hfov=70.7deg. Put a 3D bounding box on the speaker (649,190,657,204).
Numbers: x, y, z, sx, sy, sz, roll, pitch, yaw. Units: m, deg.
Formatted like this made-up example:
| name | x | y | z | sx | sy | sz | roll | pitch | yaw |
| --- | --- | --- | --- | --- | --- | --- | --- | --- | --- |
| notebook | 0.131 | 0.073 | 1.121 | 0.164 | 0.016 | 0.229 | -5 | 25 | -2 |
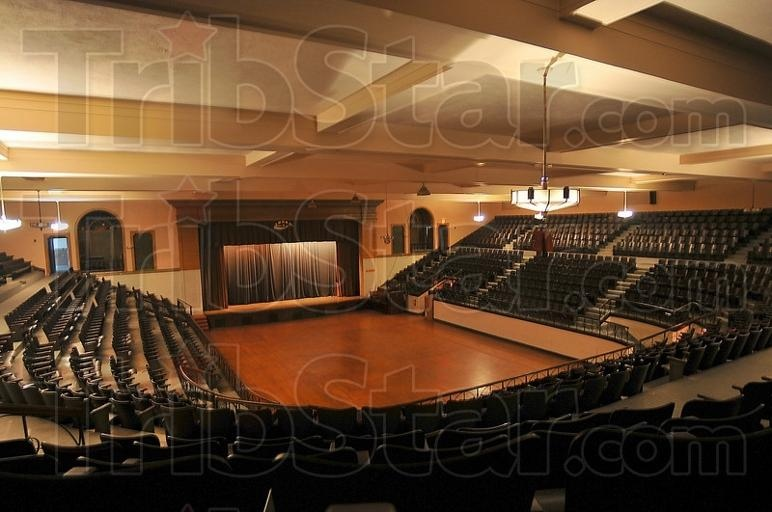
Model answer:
| name | x | y | z | sx | sy | sz | roll | pitch | yaw |
| --- | --- | --- | --- | --- | --- | --- | --- | --- | --- |
| speaker | 9.969 | -2.189 | 20.353 | 0.331 | 0.482 | 0.196 | 13 | 5 | 27 |
